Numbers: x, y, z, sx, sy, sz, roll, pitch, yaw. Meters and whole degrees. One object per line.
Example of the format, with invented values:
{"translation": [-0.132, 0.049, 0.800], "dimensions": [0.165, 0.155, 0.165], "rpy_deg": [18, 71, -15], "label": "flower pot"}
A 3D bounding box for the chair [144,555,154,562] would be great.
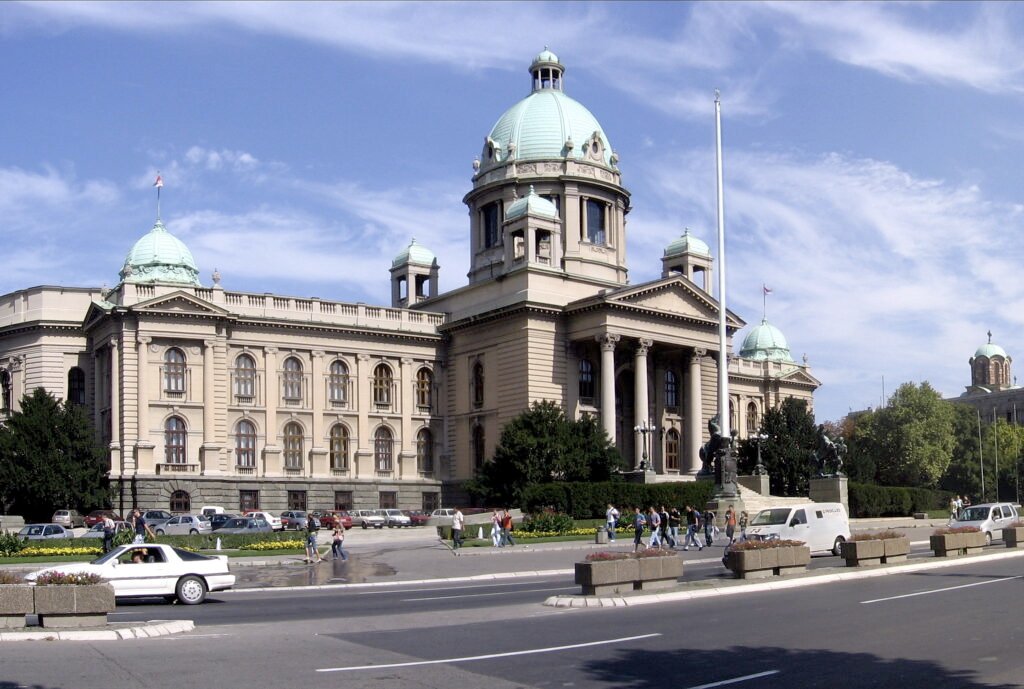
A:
{"translation": [-12.974, 7.657, 53.066], "dimensions": [0.275, 0.252, 0.172], "rpy_deg": [-3, -12, 6], "label": "chair"}

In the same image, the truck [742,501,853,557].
{"translation": [13.000, 8.246, 65.699], "dimensions": [5.519, 2.220, 2.116], "rpy_deg": [3, -5, -33], "label": "truck"}

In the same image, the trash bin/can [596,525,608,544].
{"translation": [4.675, 9.732, 75.084], "dimensions": [0.640, 0.644, 0.620], "rpy_deg": [1, -1, -3], "label": "trash bin/can"}

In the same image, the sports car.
{"translation": [-12.463, 8.430, 53.136], "dimensions": [6.858, 2.199, 2.938], "rpy_deg": [2, -4, -23], "label": "sports car"}

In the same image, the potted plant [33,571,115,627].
{"translation": [-14.061, 8.206, 47.553], "dimensions": [2.428, 1.740, 0.999], "rpy_deg": [2, -12, -18], "label": "potted plant"}
